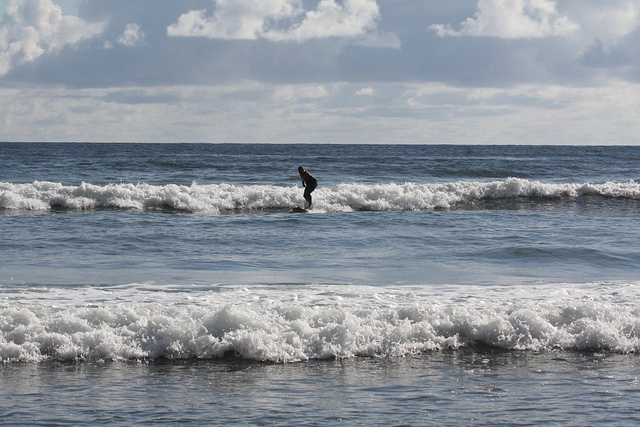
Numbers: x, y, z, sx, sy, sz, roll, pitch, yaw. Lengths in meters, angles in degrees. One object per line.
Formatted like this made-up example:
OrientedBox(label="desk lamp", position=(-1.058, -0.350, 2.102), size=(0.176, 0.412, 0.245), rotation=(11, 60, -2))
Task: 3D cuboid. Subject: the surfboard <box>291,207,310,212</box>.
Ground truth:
OrientedBox(label="surfboard", position=(-0.742, -0.114, 44.396), size=(0.768, 0.181, 0.108), rotation=(14, 31, 40))
